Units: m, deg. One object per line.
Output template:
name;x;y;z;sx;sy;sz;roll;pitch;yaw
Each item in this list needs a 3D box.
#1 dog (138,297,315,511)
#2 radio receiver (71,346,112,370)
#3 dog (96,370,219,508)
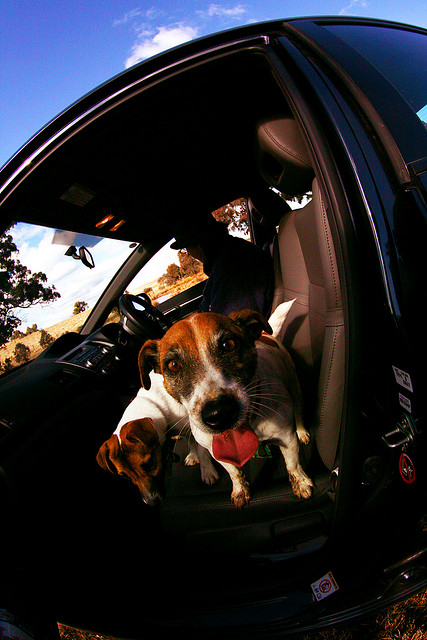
dog;0.086;0.313;1.506;0.538;0.614;0.500;-8;39;2
radio receiver;-0.729;0.217;2.377;0.146;0.069;0.213;9;44;21
dog;-0.308;0.520;2.003;0.306;0.684;0.909;-24;14;1
